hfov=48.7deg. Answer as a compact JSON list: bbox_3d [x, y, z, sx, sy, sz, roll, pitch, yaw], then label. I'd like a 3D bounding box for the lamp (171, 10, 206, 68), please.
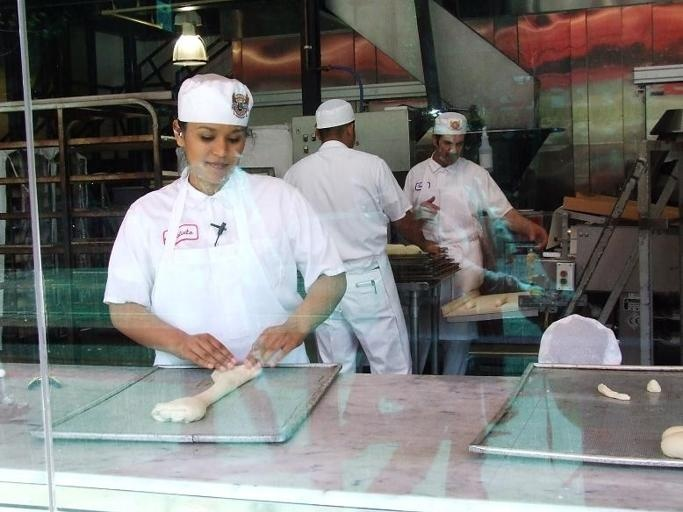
[{"bbox_3d":[-0.335,-0.483,1.664,0.083,0.114,0.084,8,12,40],"label":"lamp"}]

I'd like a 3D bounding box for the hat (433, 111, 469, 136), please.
[{"bbox_3d":[0.260,-0.301,1.752,0.065,0.043,0.066,0,0,-4],"label":"hat"}]

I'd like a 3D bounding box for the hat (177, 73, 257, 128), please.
[{"bbox_3d":[-0.242,-0.308,1.490,0.170,0.095,0.134,3,9,2],"label":"hat"}]
